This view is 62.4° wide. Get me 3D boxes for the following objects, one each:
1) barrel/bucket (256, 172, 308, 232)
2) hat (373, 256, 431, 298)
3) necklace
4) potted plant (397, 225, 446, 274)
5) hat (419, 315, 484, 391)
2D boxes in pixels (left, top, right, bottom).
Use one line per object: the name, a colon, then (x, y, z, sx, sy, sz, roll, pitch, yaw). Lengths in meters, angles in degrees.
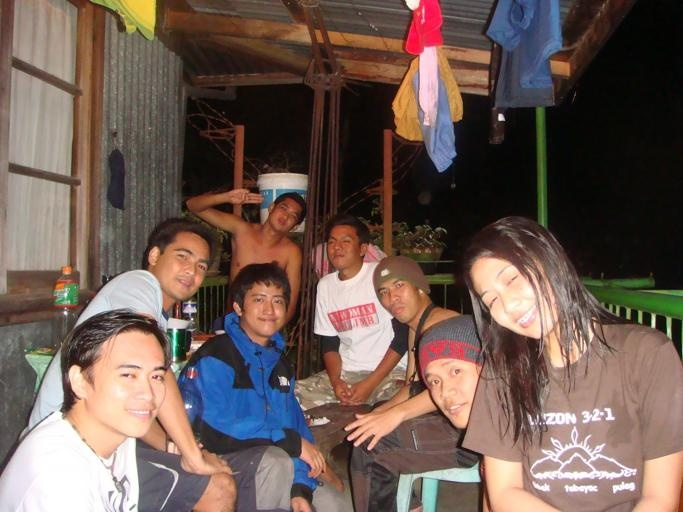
barrel/bucket: (-0.572, -0.516, 5.730, 0.507, 0.565, 0.552, 0, 5, 0)
hat: (0.414, 0.180, 3.966, 0.276, 0.226, 0.287, -11, -8, 41)
necklace: (-1.178, 0.993, 2.736, 0.124, 0.260, 0.331, -34, 21, -23)
potted plant: (0.984, -0.100, 7.220, 0.556, 0.561, 0.593, 0, 4, -10)
hat: (0.555, 0.519, 3.086, 0.338, 0.281, 0.263, -3, -36, -27)
